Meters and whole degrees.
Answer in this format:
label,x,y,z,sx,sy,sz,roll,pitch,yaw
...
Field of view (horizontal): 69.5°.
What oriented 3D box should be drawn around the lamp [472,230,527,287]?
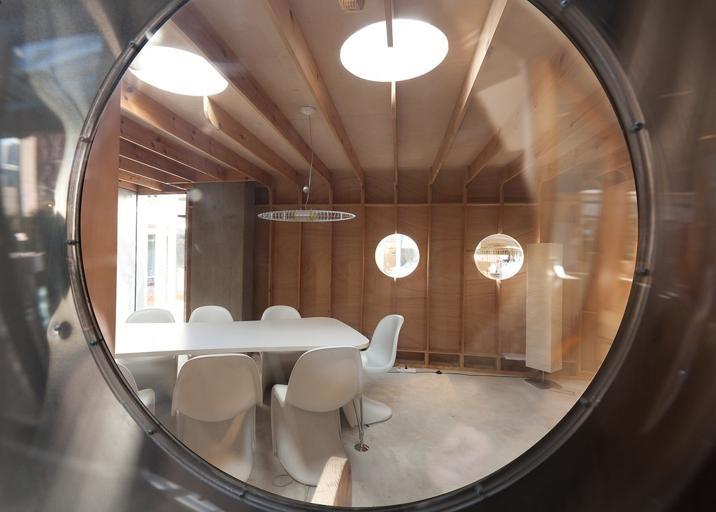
label,x,y,z,sx,sy,sz,roll,pitch,yaw
lamp,1.383,0.013,5.048,0.346,0.457,1.144,9,1,22
